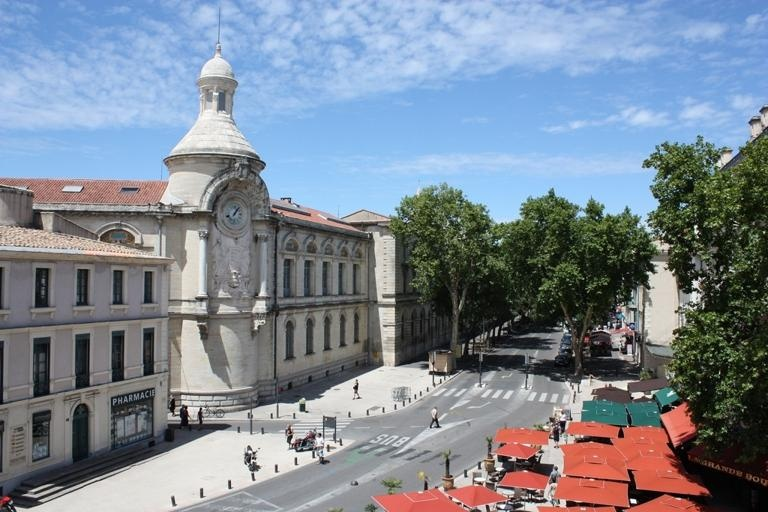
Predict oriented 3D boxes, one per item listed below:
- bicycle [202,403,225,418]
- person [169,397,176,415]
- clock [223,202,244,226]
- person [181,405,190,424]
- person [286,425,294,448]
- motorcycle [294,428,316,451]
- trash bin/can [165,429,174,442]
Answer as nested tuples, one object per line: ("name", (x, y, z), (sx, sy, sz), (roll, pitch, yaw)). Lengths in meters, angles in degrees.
("bicycle", (-16.017, 14.751, 67.692), (1.746, 0.972, 1.082), (4, -10, -7))
("person", (-19.814, 14.191, 67.507), (0.545, 1.415, 1.388), (-3, 6, -16))
("clock", (-14.622, -3.946, 69.900), (2.076, 1.919, 0.462), (-1, 1, -41))
("person", (-17.958, 14.470, 64.860), (0.625, 1.569, 1.361), (-3, 6, -14))
("person", (-7.919, 15.117, 60.327), (0.582, 1.477, 1.621), (-2, 6, -8))
("motorcycle", (-6.584, 15.297, 59.355), (1.897, 1.585, 1.074), (-1, 6, -6))
("trash bin/can", (-18.241, 15.273, 61.136), (0.759, 0.937, 0.631), (-1, 6, -3))
